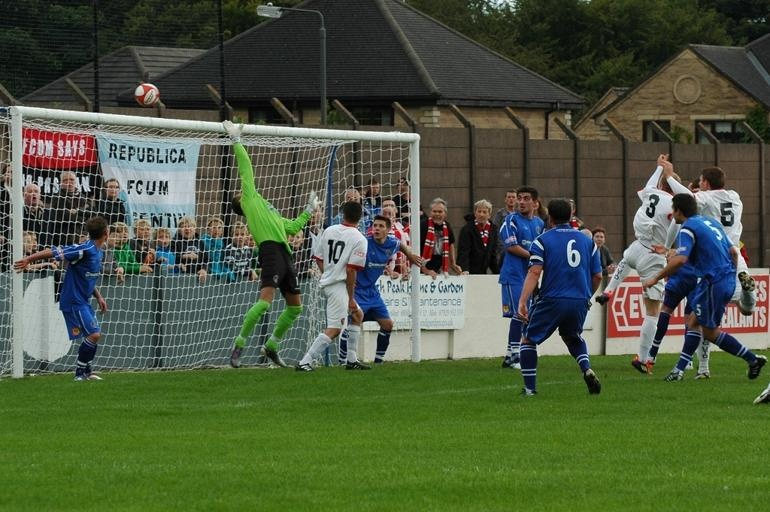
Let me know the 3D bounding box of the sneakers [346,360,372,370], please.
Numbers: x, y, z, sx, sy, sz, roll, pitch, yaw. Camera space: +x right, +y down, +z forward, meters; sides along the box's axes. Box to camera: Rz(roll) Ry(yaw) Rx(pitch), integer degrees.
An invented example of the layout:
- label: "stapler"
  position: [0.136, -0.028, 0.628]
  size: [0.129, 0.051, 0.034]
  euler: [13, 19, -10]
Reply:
- label: "sneakers"
  position: [-0.434, 1.836, 21.052]
  size: [0.534, 0.201, 0.157]
  euler: [0, 1, -4]

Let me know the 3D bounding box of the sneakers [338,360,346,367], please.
- label: "sneakers"
  position: [-0.717, 1.869, 21.509]
  size: [0.114, 0.090, 0.150]
  euler: [5, -29, -16]

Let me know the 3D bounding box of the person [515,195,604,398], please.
- label: "person"
  position: [2.747, 0.649, 19.007]
  size: [1.300, 2.984, 0.818]
  euler: [1, 14, 6]

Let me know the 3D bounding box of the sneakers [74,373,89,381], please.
- label: "sneakers"
  position: [-4.872, 1.929, 19.827]
  size: [0.207, 0.085, 0.082]
  euler: [-1, 2, 3]

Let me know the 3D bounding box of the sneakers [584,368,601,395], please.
- label: "sneakers"
  position: [3.241, 1.954, 19.093]
  size: [0.209, 0.447, 0.215]
  euler: [-21, 21, 17]

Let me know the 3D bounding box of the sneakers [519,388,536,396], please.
- label: "sneakers"
  position: [2.241, 2.075, 19.077]
  size: [0.263, 0.114, 0.094]
  euler: [1, 3, 7]

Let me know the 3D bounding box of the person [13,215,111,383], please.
- label: "person"
  position: [-4.975, 0.706, 19.743]
  size: [1.203, 2.551, 0.667]
  euler: [-4, 14, -17]

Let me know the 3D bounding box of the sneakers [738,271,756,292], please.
- label: "sneakers"
  position: [5.812, 0.396, 19.743]
  size: [0.228, 0.280, 0.104]
  euler: [-21, -8, -28]

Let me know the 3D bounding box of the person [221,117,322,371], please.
- label: "person"
  position: [-1.869, 0.153, 20.293]
  size: [1.337, 3.524, 1.154]
  euler: [-1, 14, -4]

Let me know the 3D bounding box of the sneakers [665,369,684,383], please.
- label: "sneakers"
  position: [4.793, 1.947, 20.240]
  size: [0.391, 0.179, 0.141]
  euler: [-1, 2, 8]

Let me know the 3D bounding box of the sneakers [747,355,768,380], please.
- label: "sneakers"
  position: [6.082, 1.766, 20.033]
  size: [0.265, 0.556, 0.197]
  euler: [-5, 42, -8]

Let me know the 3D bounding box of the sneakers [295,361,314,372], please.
- label: "sneakers"
  position: [-1.323, 1.834, 20.623]
  size: [0.289, 0.119, 0.112]
  euler: [-1, 2, 5]
